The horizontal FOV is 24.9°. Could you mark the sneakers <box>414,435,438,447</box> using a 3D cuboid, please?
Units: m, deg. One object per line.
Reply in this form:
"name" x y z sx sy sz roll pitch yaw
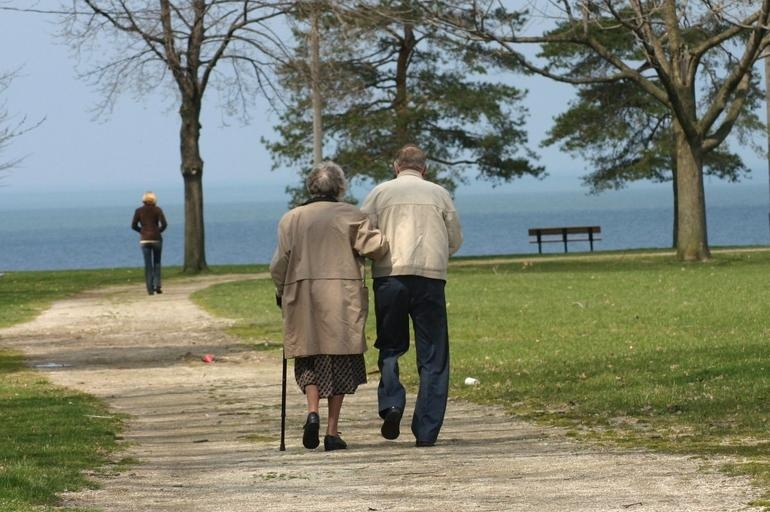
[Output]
"sneakers" 0.935 4.253 40.679 0.509 0.207 0.185 -1 -1 -3
